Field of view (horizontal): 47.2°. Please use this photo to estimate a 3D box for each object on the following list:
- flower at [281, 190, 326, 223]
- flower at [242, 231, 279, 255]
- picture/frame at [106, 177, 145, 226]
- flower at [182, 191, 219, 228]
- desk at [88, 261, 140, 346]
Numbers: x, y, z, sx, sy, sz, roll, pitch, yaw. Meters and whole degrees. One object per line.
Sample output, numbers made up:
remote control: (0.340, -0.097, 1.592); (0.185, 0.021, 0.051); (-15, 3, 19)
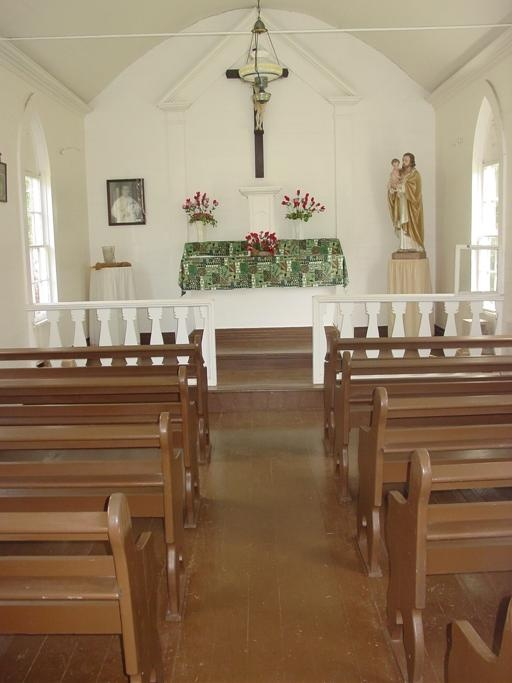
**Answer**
flower: (0.585, -1.718, 7.539); (0.544, 0.443, 0.530); (2, 12, 14)
flower: (0.057, -1.071, 6.450); (0.354, 0.267, 0.299); (-2, 7, -4)
picture/frame: (-1.756, -1.887, 7.837); (0.512, 0.705, 0.027); (-1, 7, -6)
flower: (-0.709, -1.711, 7.556); (0.456, 0.475, 0.748); (-2, 7, -4)
desk: (-1.795, -0.477, 7.513); (0.375, 1.131, 0.577); (2, 24, -4)
